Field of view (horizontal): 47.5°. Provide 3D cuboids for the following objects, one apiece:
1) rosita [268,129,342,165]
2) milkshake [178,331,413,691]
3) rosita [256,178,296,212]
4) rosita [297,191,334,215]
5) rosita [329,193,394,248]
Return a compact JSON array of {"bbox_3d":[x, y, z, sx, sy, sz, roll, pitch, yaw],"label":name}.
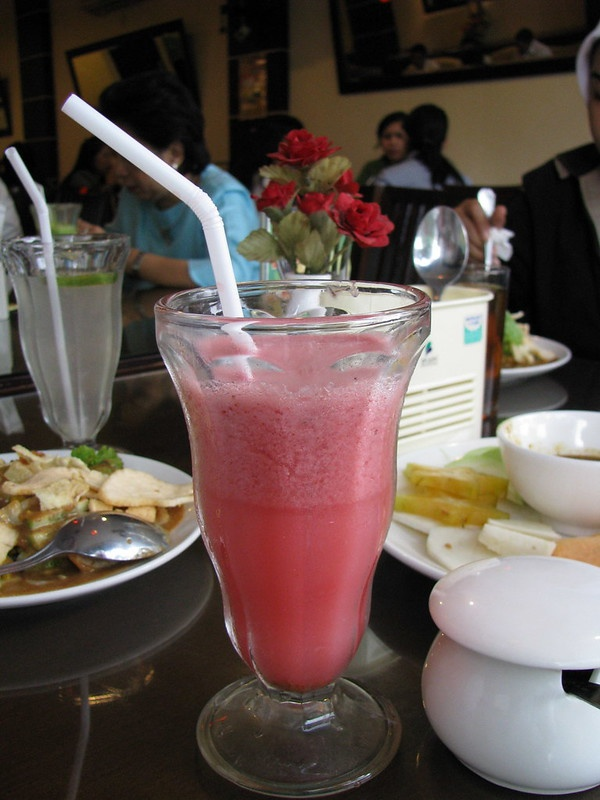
[{"bbox_3d":[0.001,-0.292,0.815,0.057,0.046,0.074,-10,15,-35],"label":"rosita"},{"bbox_3d":[0.007,0.049,0.411,0.125,0.209,0.103,1,17,6],"label":"milkshake"},{"bbox_3d":[-0.029,-0.243,0.812,0.056,0.036,0.039,4,15,17],"label":"rosita"},{"bbox_3d":[0.019,-0.221,0.774,0.035,0.019,0.031,-5,13,-14],"label":"rosita"},{"bbox_3d":[0.071,-0.213,0.812,0.071,0.060,0.141,0,14,3],"label":"rosita"}]
